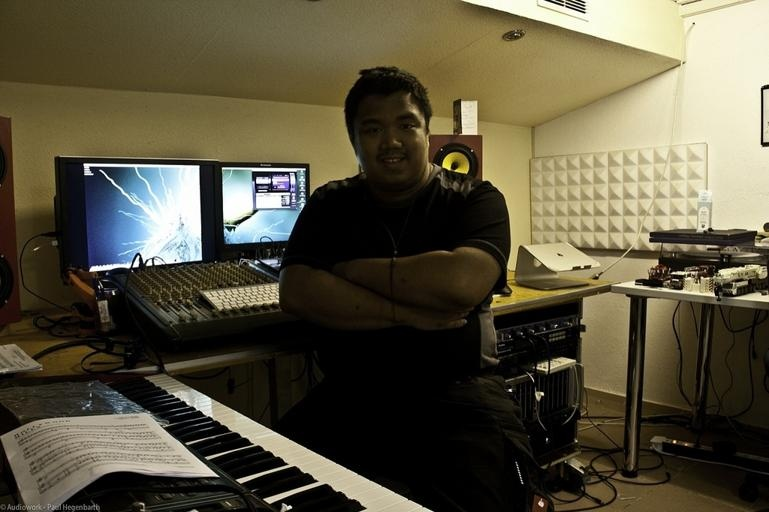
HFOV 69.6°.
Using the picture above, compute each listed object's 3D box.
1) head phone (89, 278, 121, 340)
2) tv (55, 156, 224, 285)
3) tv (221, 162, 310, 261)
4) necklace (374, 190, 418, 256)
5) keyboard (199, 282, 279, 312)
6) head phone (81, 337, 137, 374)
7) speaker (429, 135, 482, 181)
[{"bbox_3d":[-1.207,0.215,2.435,0.166,0.225,0.135,-15,42,-26],"label":"head phone"},{"bbox_3d":[-1.249,-0.205,2.934,0.080,0.582,0.842,3,7,41],"label":"tv"},{"bbox_3d":[-0.691,-0.238,3.082,0.580,0.536,0.042,-3,3,-34],"label":"tv"},{"bbox_3d":[0.096,-0.135,2.371,0.139,0.241,0.248,-1,9,10],"label":"necklace"},{"bbox_3d":[-0.627,0.188,2.424,0.205,0.027,0.131,-5,35,-44],"label":"keyboard"},{"bbox_3d":[-1.080,0.398,2.161,0.176,0.046,0.144,9,12,28],"label":"head phone"},{"bbox_3d":[0.384,-0.544,3.076,0.363,0.330,0.194,-1,7,-4],"label":"speaker"}]
